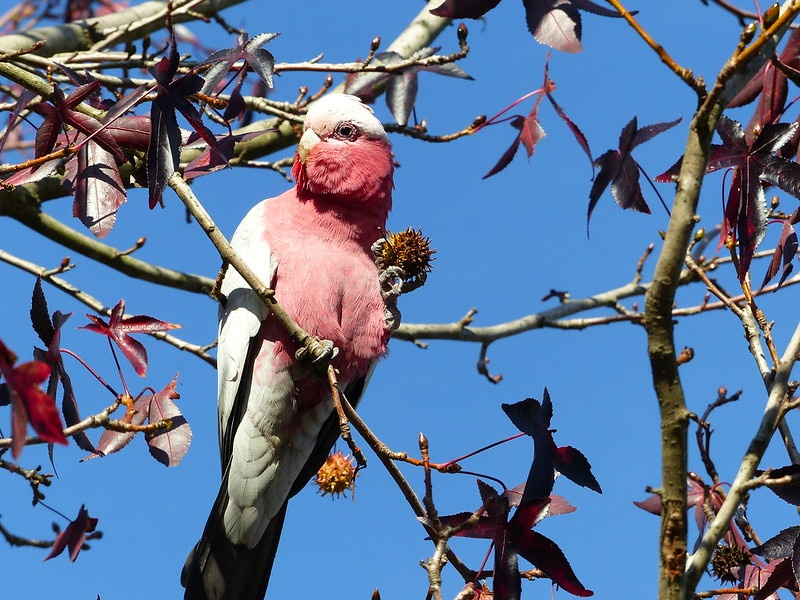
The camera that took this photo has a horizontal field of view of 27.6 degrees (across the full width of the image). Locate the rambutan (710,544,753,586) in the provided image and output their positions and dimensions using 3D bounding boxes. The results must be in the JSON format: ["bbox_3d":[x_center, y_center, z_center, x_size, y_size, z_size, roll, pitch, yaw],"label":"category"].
[{"bbox_3d":[1.282,1.012,6.273,0.148,0.122,0.103,-5,-54,9],"label":"rambutan"}]

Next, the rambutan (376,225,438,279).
[{"bbox_3d":[0.021,-0.188,6.377,0.207,0.256,0.370,1,-87,18],"label":"rambutan"}]
